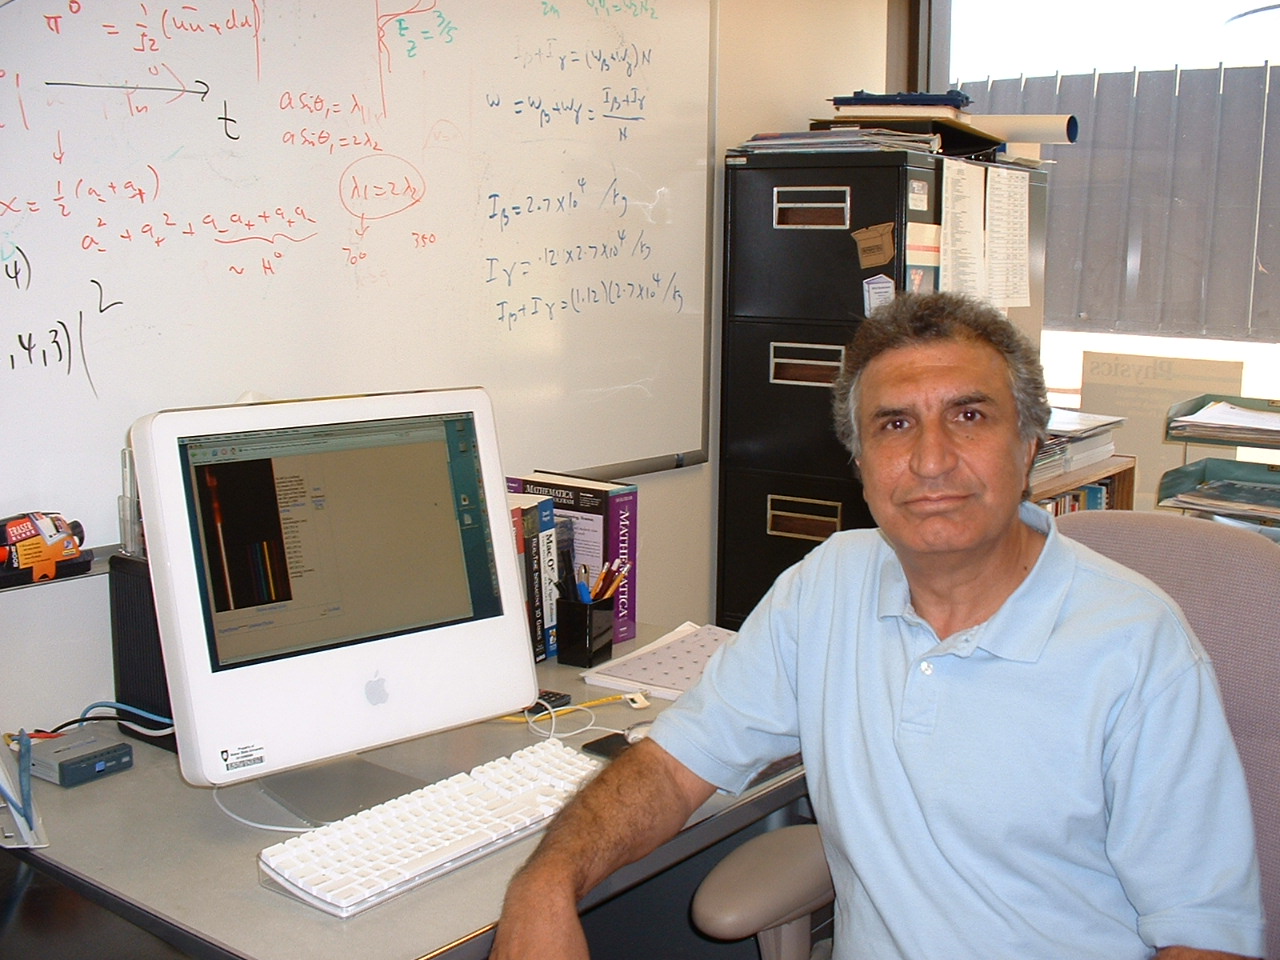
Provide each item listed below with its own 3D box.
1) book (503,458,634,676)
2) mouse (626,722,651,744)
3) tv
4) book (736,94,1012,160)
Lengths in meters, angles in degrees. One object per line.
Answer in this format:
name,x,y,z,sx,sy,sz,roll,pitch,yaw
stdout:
book,-0.139,0.192,1.960,0.147,0.371,0.392,-7,3,-30
mouse,0.001,0.417,1.614,0.034,0.017,0.057,-2,5,17
tv,-0.463,0.173,1.470,0.577,0.508,0.215,-9,12,-35
book,0.797,-1.066,2.974,0.913,0.189,0.360,-10,12,-32
